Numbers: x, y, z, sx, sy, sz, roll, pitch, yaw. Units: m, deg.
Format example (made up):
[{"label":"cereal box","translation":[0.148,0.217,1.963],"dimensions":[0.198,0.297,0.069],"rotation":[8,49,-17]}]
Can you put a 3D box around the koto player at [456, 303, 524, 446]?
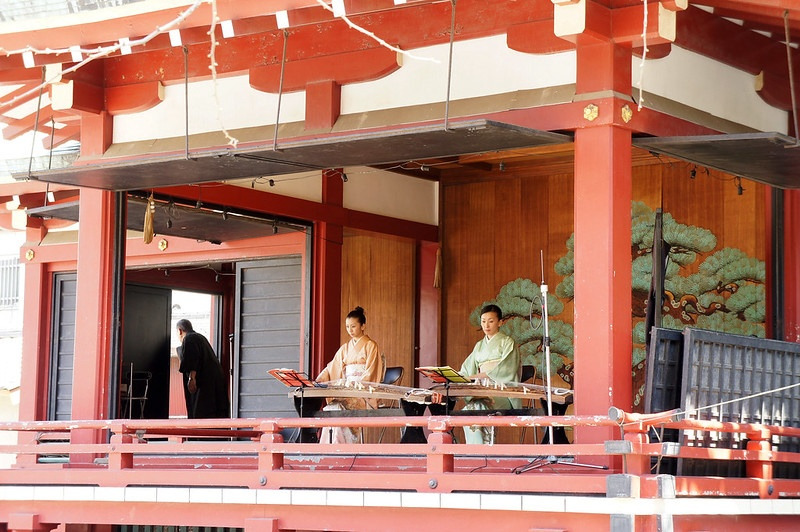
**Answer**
[{"label":"koto player","translation":[0.935,1.242,13.637],"dimensions":[0.691,1.542,0.870],"rotation":[-7,-2,45]}]

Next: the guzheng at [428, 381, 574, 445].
[{"label":"guzheng","translation":[1.000,1.332,13.351],"dimensions":[1.359,0.442,0.881],"rotation":[6,16,-14]}]

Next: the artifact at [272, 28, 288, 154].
[{"label":"artifact","translation":[-1.237,-1.889,13.072],"dimensions":[0.127,1.325,0.125],"rotation":[6,-11,0]}]

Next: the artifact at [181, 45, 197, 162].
[{"label":"artifact","translation":[-2.217,-1.698,13.246],"dimensions":[0.254,1.182,0.063],"rotation":[-2,11,-16]}]

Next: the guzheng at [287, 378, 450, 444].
[{"label":"guzheng","translation":[-0.399,1.398,13.444],"dimensions":[1.598,0.335,1.202],"rotation":[3,-6,-1]}]

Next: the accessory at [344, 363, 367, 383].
[{"label":"accessory","translation":[-0.493,1.148,13.672],"dimensions":[0.178,0.155,0.177],"rotation":[-6,-10,36]}]
